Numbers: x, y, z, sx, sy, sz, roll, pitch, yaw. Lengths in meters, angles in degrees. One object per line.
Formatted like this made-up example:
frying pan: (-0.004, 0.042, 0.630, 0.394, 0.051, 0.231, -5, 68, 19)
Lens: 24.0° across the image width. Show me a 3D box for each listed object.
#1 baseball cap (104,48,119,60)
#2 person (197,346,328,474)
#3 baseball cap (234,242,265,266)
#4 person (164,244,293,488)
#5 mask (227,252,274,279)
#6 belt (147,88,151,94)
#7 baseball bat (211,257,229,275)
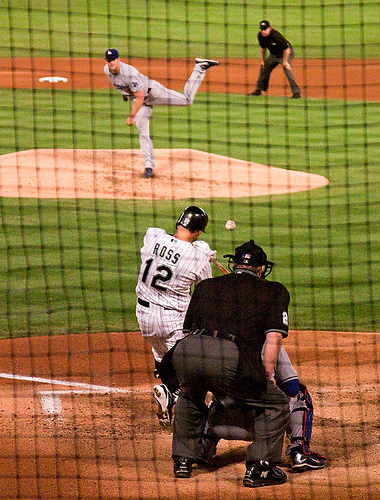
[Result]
baseball cap: (-0.956, -2.383, 10.917, 0.125, 0.077, 0.164, 3, 18, 14)
person: (0.412, 0.988, 5.370, 0.804, 0.692, 0.475, 9, 16, 22)
baseball cap: (0.374, 0.030, 5.516, 0.181, 0.144, 0.150, 4, 15, 12)
person: (0.246, 0.677, 5.299, 0.692, 1.308, 0.824, 1, 16, 0)
mask: (0.387, 0.104, 5.740, 0.239, 0.095, 0.244, 3, 36, 10)
belt: (-0.521, -2.018, 11.385, 0.046, 0.056, 0.031, -13, 22, -43)
baseball bat: (0.288, 0.162, 8.599, 0.276, 0.037, 0.041, 37, 16, 14)
